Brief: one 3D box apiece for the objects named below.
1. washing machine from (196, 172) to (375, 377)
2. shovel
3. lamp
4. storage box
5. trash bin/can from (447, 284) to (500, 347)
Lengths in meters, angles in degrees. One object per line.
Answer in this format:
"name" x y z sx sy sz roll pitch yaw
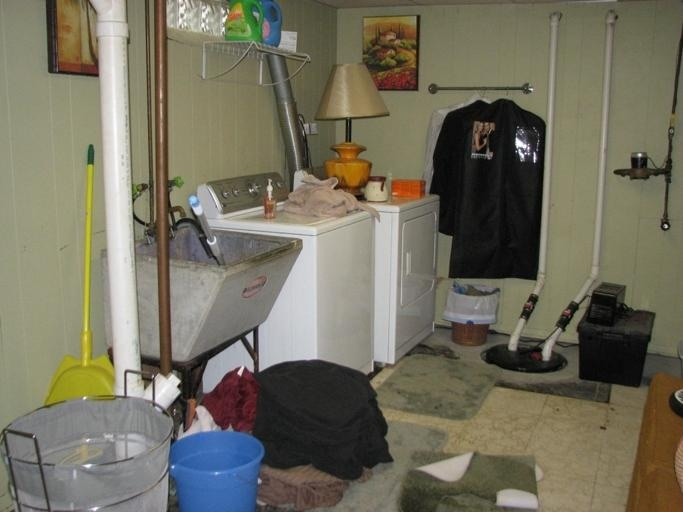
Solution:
"washing machine" -0.264 0.159 3.642 0.751 1.275 0.913 8 16 30
"shovel" -1.188 0.174 2.688 0.375 1.362 0.139 0 -5 6
"lamp" 0.046 -0.895 4.188 0.512 0.907 0.528 -3 11 -11
"storage box" 1.813 0.542 3.879 0.407 0.390 0.429 5 23 24
"trash bin/can" 0.981 0.414 4.511 0.422 0.457 0.401 2 9 9
